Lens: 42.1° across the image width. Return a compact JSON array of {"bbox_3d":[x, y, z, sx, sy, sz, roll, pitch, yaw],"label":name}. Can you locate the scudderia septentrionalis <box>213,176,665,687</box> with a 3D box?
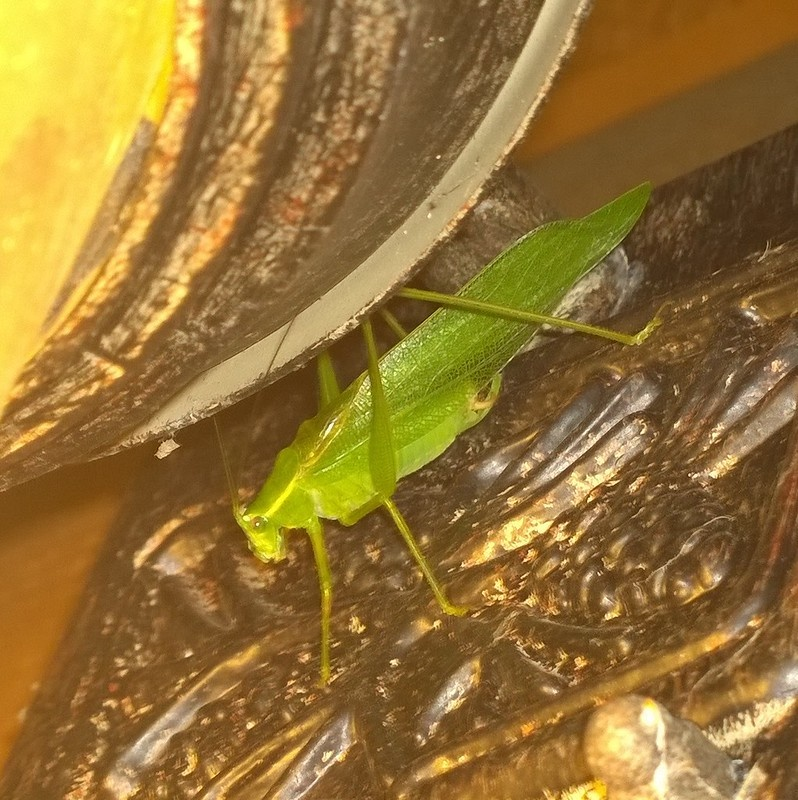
[{"bbox_3d":[0.029,0.000,0.876,0.422,0.223,0.231,-47,34,-1],"label":"scudderia septentrionalis"}]
